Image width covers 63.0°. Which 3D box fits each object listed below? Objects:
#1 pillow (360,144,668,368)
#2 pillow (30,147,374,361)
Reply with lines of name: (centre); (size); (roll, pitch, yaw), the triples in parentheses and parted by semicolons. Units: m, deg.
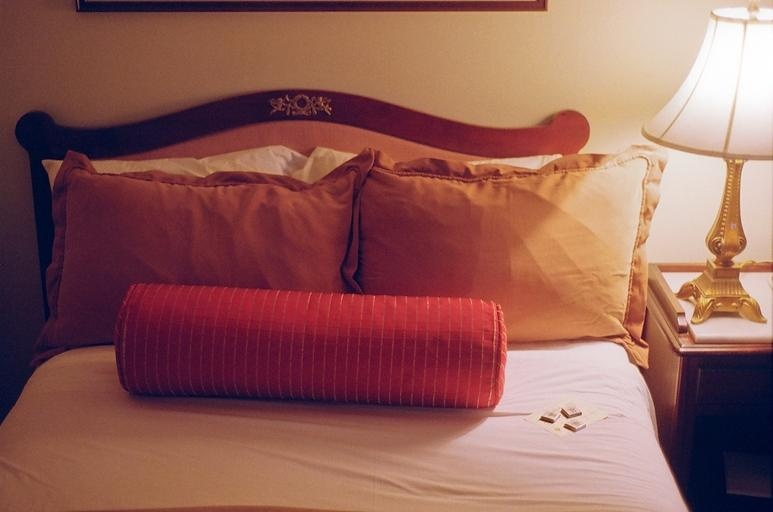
pillow: (0.435, 0.015, 2.204); (0.756, 0.585, 0.198); (1, -6, 0)
pillow: (-0.640, 0.001, 2.360); (1.157, 0.788, 0.312); (4, -6, -10)
